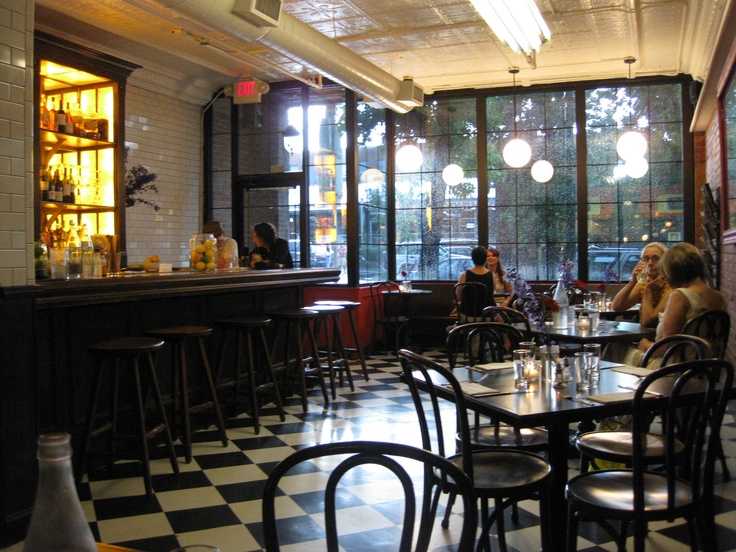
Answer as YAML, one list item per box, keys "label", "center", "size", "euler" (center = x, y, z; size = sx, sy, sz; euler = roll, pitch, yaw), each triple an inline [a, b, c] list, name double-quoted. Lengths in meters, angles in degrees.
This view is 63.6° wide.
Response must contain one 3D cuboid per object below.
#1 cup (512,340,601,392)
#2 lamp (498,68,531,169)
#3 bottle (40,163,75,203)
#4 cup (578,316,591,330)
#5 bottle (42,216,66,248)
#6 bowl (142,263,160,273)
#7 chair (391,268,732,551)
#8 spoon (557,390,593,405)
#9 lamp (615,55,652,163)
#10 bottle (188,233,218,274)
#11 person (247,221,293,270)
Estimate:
- label: "cup"
  center: [0.948, 0.440, 3.074]
  size: [0.296, 0.121, 0.354]
  euler: [-2, 3, -29]
- label: "lamp"
  center: [2.128, -2.173, 8.435]
  size: [0.408, 1.280, 1.065]
  euler: [0, 5, 14]
- label: "bottle"
  center: [-3.230, -0.960, 6.216]
  size: [0.261, 0.401, 0.437]
  euler: [-2, 5, -12]
- label: "cup"
  center: [1.708, 0.378, 4.734]
  size: [0.109, 0.086, 0.097]
  euler: [-1, 0, 5]
- label: "bottle"
  center: [-3.401, -0.497, 6.451]
  size: [0.215, 0.323, 0.518]
  euler: [-4, 5, -26]
- label: "bowl"
  center: [-1.898, -0.076, 5.173]
  size: [0.203, 0.079, 0.087]
  euler: [3, 6, 37]
- label: "chair"
  center: [0.980, 0.629, 3.209]
  size: [1.248, 0.921, 1.122]
  euler: [-5, 8, -26]
- label: "spoon"
  center: [0.980, 0.570, 2.806]
  size: [0.151, 0.012, 0.205]
  euler: [0, 4, 12]
- label: "lamp"
  center: [3.527, -2.150, 7.915]
  size: [0.333, 1.315, 0.834]
  euler: [1, 6, 23]
- label: "bottle"
  center: [-1.528, -0.220, 5.587]
  size: [0.392, 0.433, 0.378]
  euler: [0, -1, -10]
- label: "person"
  center: [-1.323, -0.415, 7.964]
  size: [0.418, 0.605, 0.759]
  euler: [-1, 5, 3]
